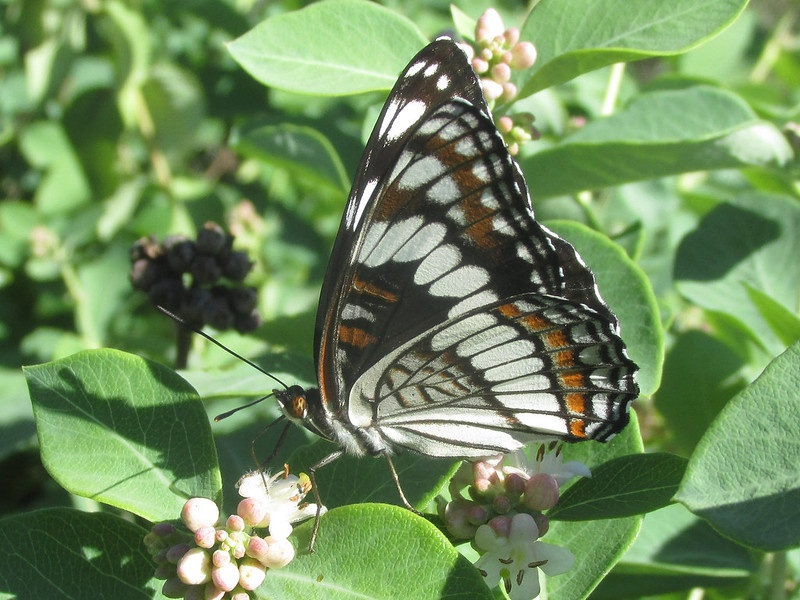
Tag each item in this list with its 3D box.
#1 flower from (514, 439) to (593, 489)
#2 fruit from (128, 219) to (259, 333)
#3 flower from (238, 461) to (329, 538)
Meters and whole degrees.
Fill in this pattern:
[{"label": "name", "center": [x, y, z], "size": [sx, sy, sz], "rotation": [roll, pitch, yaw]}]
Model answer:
[{"label": "flower", "center": [0.408, 0.442, 2.452], "size": [0.155, 0.140, 0.068], "rotation": [12, 79, 3]}, {"label": "fruit", "center": [-0.656, -0.076, 3.041], "size": [0.443, 0.176, 0.320], "rotation": [31, 29, 4]}, {"label": "flower", "center": [-0.305, 0.510, 2.374], "size": [0.195, 0.083, 0.178], "rotation": [-15, 38, -21]}]
